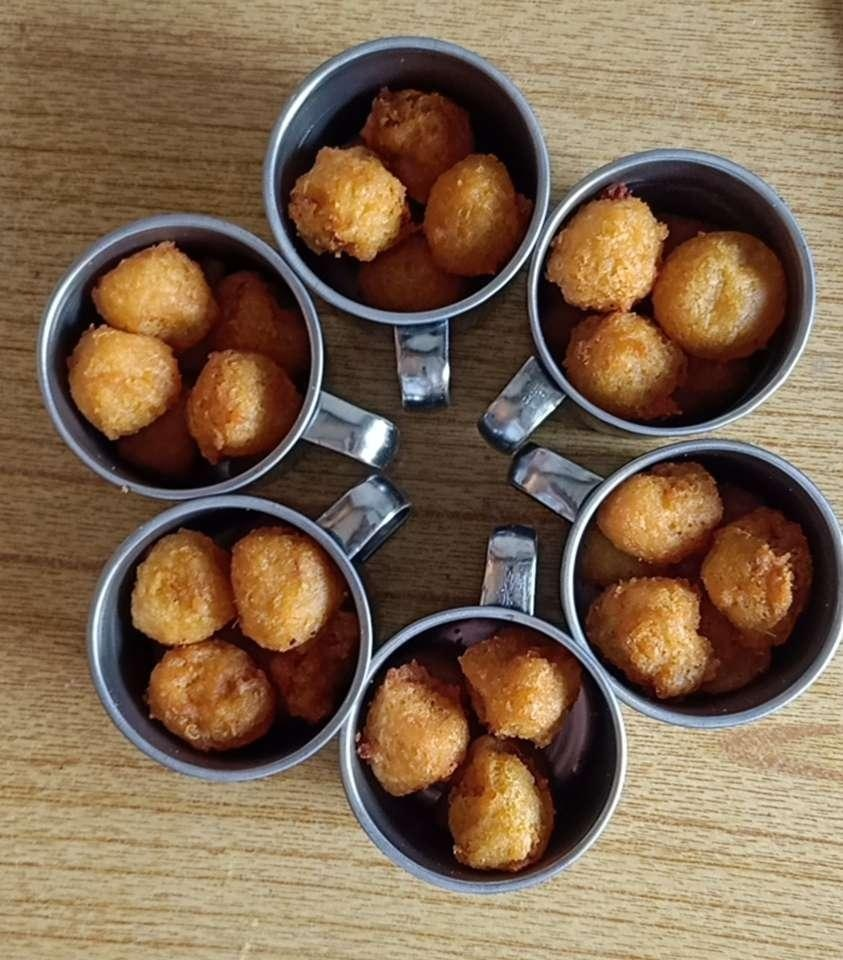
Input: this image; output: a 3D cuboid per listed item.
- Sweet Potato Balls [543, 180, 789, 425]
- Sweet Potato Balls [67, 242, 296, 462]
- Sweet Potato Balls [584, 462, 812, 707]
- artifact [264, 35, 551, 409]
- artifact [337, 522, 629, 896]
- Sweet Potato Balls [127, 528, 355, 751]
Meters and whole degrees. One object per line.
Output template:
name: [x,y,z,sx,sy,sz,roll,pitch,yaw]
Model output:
Sweet Potato Balls: [0.192,-0.134,0.871,0.178,0.084,0.160,-8,84,-1]
Sweet Potato Balls: [-0.177,-0.090,0.877,0.178,0.079,0.176,0,84,0]
Sweet Potato Balls: [0.226,0.079,0.940,0.216,0.077,0.179,25,96,9]
artifact: [0.019,-0.198,0.915,0.260,0.199,0.246,-4,99,0]
artifact: [0.069,0.176,0.961,0.275,0.126,0.265,20,100,1]
Sweet Potato Balls: [-0.146,0.105,0.913,0.186,0.083,0.175,-1,96,-6]
